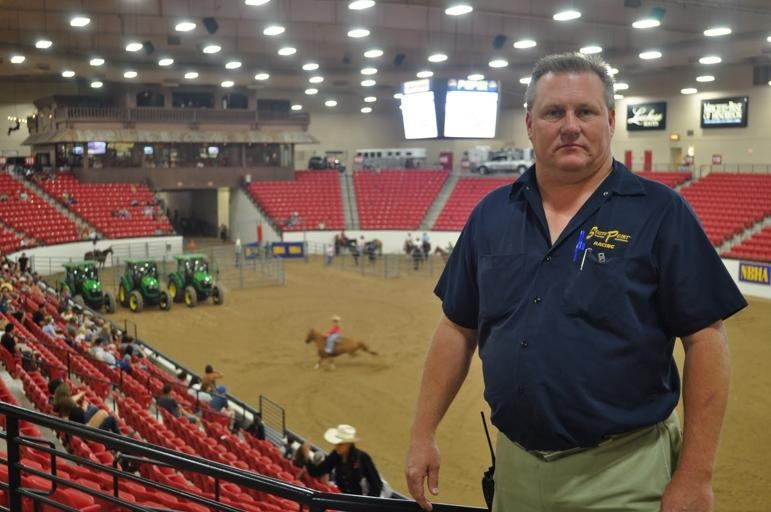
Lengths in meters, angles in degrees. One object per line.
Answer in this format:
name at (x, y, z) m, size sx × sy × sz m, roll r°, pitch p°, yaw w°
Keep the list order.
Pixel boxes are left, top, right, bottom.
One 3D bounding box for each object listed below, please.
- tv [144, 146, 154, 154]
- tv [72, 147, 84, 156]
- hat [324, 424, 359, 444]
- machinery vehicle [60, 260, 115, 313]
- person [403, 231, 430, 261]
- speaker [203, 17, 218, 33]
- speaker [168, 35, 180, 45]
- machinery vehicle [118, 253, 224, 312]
tv at (-13.470, -5.949, 52.925) m, size 0.569 × 0.434 × 0.322 m, roll -2°, pitch 4°, yaw -23°
tv at (-17.039, -5.872, 51.729) m, size 0.689 × 0.556 × 0.410 m, roll 2°, pitch -1°, yaw 19°
hat at (-1.135, 4.498, 23.527) m, size 0.807 × 0.499 × 0.499 m, roll 3°, pitch 11°, yaw 32°
machinery vehicle at (-12.078, 1.186, 37.720) m, size 1.448 × 2.092 × 3.050 m, roll -7°, pitch 11°, yaw -33°
person at (1.826, -0.601, 46.784) m, size 1.195 × 1.404 × 0.383 m, roll 2°, pitch -7°, yaw 24°
speaker at (-7.579, -10.016, 40.410) m, size 0.586 × 0.611 × 0.769 m, roll -2°, pitch 10°, yaw 2°
speaker at (-9.713, -9.935, 42.809) m, size 0.555 × 0.351 × 0.798 m, roll -5°, pitch 10°, yaw -13°
machinery vehicle at (-9.210, 0.871, 38.382) m, size 2.350 × 1.915 × 3.451 m, roll -1°, pitch -4°, yaw -37°
